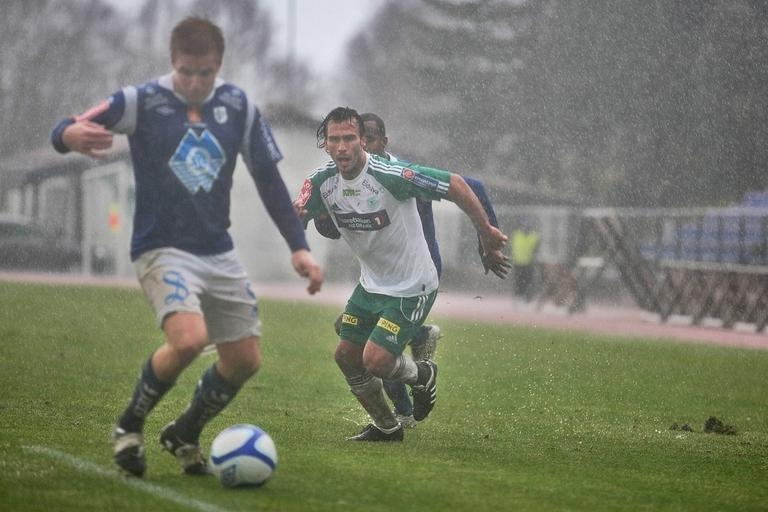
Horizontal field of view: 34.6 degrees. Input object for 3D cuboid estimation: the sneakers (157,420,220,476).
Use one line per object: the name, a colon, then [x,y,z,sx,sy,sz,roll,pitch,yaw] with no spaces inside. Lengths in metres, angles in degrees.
sneakers: [-1.326,1.272,8.238,0.559,0.234,0.181,45,17,-40]

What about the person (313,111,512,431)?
person: [-0.013,0.161,8.822,1.299,2.360,0.469,5,7,-5]
